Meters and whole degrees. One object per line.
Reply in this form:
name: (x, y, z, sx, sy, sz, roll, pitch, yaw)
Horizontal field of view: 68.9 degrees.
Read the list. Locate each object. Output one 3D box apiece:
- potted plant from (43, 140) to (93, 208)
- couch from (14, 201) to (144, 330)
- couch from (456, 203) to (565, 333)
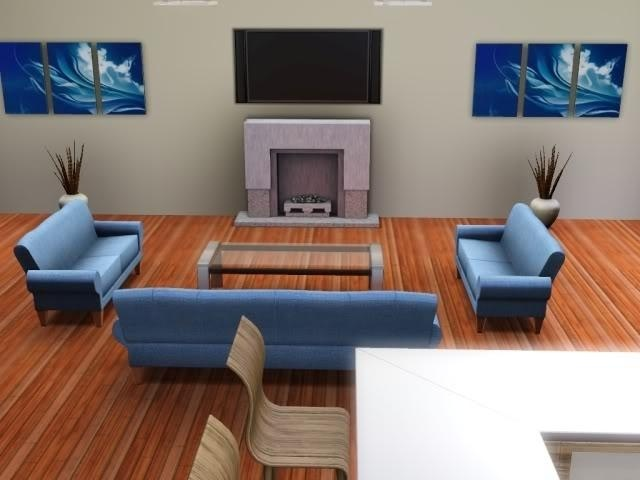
potted plant: (-3.833, -0.954, 7.171, 0.561, 0.910, 1.131, -14, 28, -27)
couch: (-2.571, 0.301, 4.923, 0.632, 0.702, 1.372, 1, 22, -1)
couch: (2.080, 0.339, 4.999, 0.618, 0.700, 1.335, 0, 23, 4)
